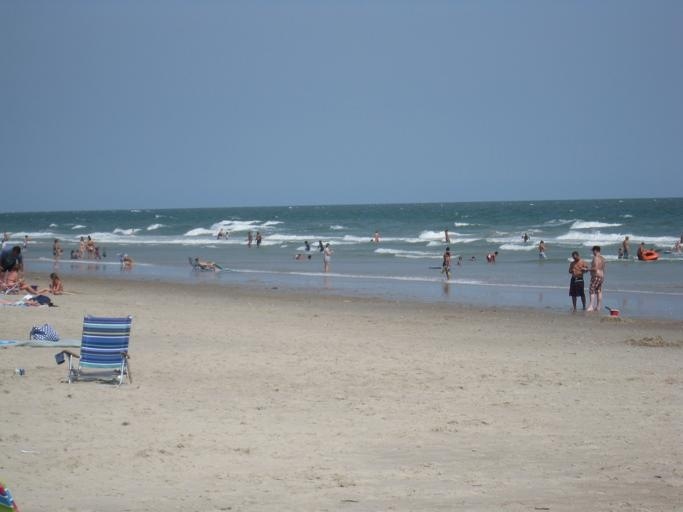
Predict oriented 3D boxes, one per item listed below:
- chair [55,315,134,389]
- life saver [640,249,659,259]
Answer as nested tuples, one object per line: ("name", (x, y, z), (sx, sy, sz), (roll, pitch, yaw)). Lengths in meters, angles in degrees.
("chair", (-3.810, 1.635, 16.197), (0.878, 0.941, 1.193), (8, -30, -11))
("life saver", (12.272, -0.071, 40.439), (0.547, 0.257, 0.767), (0, 10, 4))
